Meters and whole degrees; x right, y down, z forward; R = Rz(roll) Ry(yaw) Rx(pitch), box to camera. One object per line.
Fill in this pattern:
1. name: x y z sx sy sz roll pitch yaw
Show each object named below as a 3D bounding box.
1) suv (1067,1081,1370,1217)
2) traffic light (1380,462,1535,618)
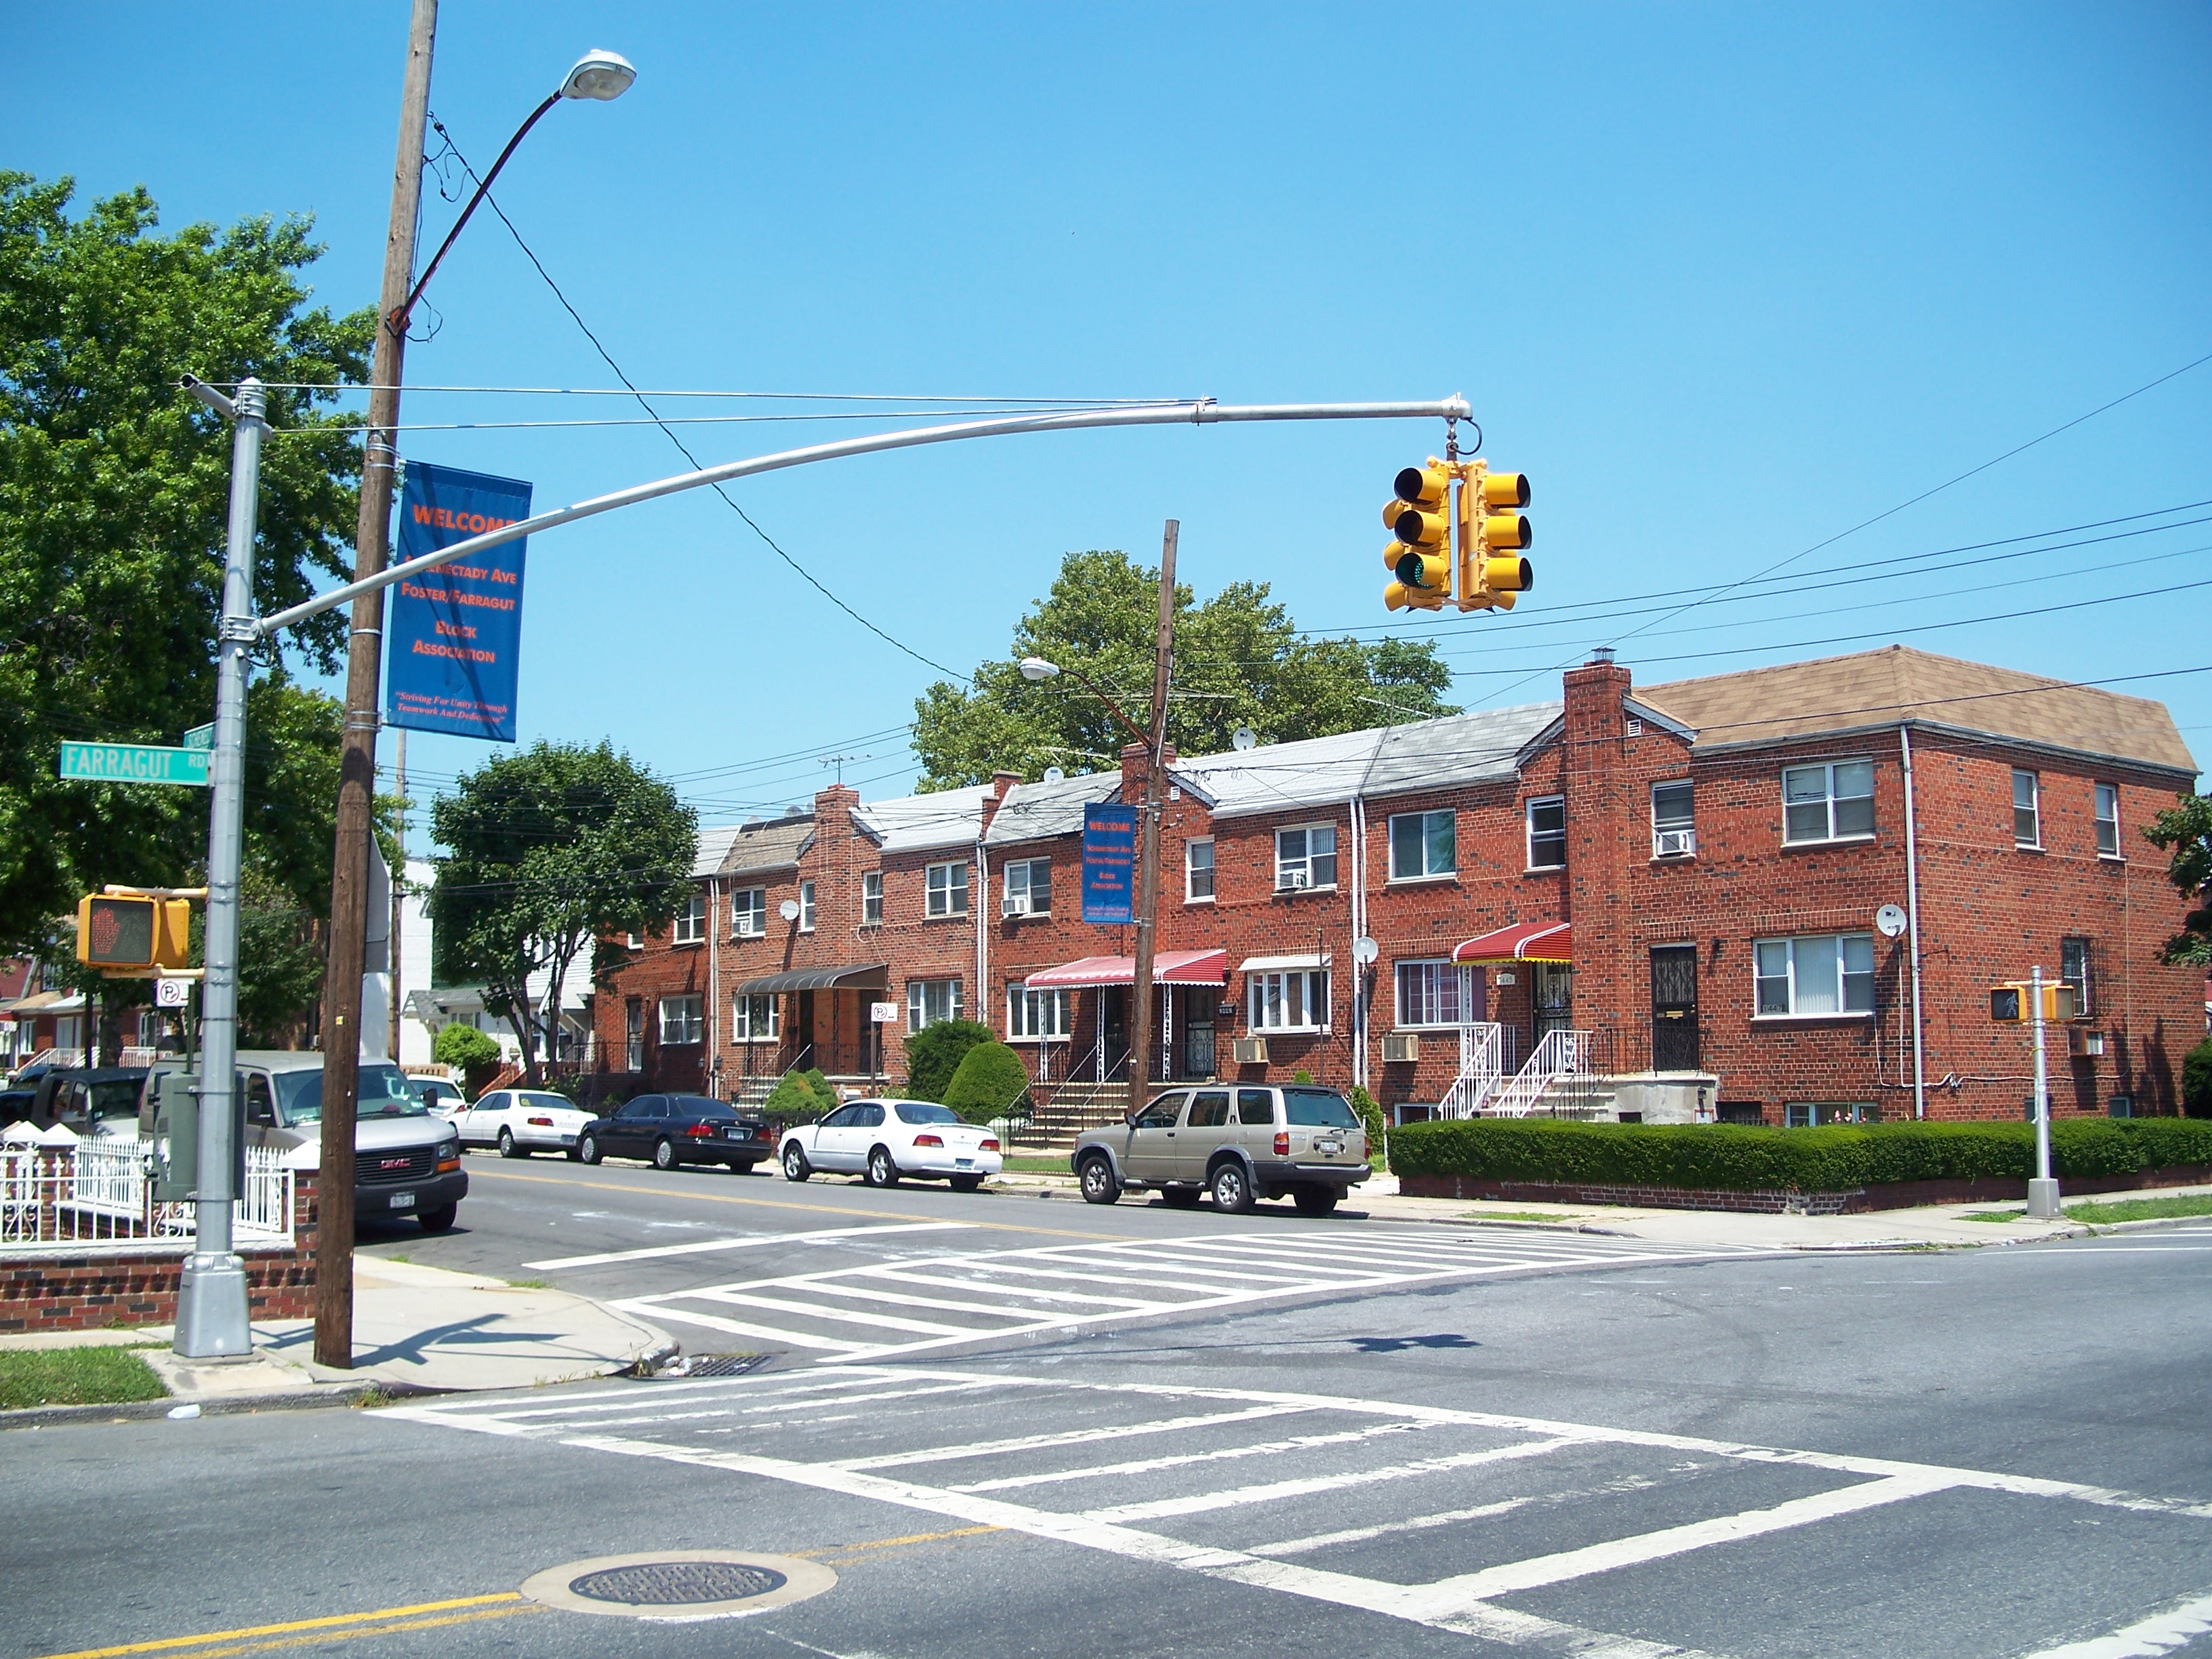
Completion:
1. suv: 1.609 4.823 40.686 1.387 1.862 5.029 8 -14 -44
2. traffic light: 3.048 -2.605 23.462 1.200 1.408 0.360 -4 -10 14
